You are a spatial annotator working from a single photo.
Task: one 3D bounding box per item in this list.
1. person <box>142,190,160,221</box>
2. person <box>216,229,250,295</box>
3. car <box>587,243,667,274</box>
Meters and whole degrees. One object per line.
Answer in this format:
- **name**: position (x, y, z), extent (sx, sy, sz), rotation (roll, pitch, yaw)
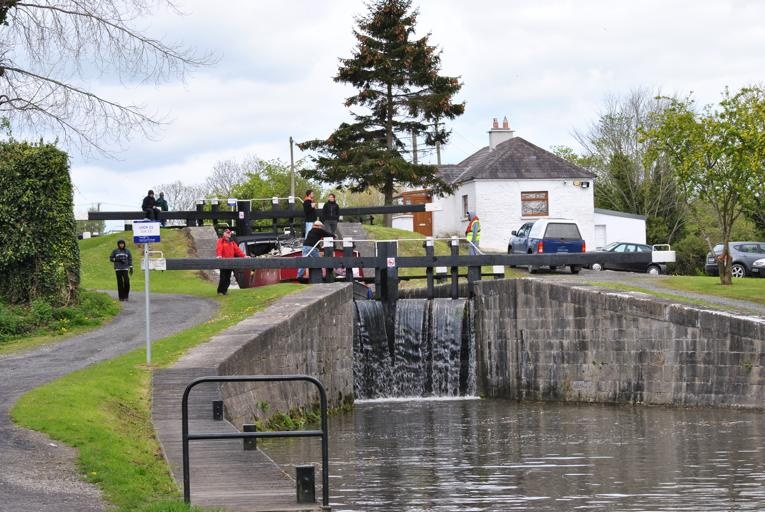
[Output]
- **person**: position (-9.811, -2.228, 69.809), extent (0.701, 1.226, 1.669), rotation (-1, 3, -7)
- **person**: position (-5.219, 0.056, 57.421), extent (1.104, 2.477, 1.044), rotation (0, -1, -11)
- **car**: position (9.562, -0.371, 65.947), extent (3.885, 1.275, 1.781), rotation (4, -2, -6)
